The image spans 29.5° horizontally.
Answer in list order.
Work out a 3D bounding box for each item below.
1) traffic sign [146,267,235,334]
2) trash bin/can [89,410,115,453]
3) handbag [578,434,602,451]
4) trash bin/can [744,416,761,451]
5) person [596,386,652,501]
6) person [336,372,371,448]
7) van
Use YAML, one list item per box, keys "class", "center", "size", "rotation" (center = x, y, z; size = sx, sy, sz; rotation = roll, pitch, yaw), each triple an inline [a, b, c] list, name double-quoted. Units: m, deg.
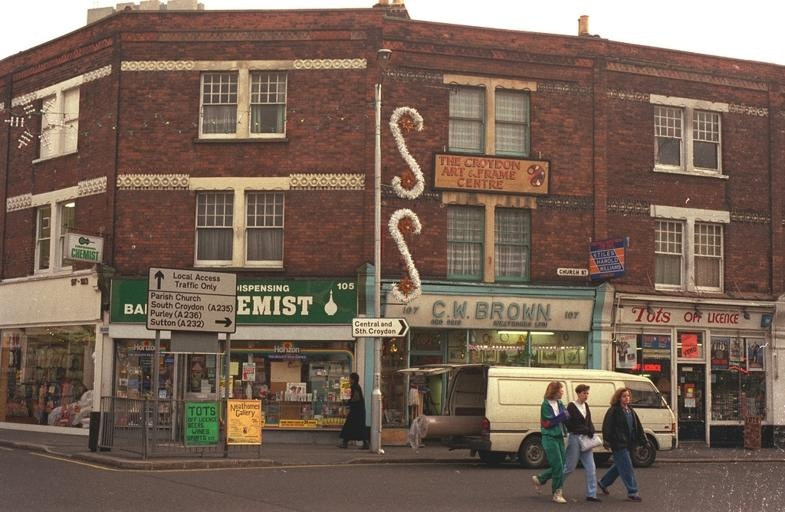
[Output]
- class: "traffic sign"
  center: [-6.210, 1.392, 46.229]
  size: [2.783, 1.910, 0.526]
  rotation: [5, -12, -24]
- class: "trash bin/can"
  center: [-9.144, 5.515, 47.035]
  size: [0.783, 1.236, 0.573]
  rotation: [1, -11, -7]
- class: "handbag"
  center: [5.619, 5.311, 42.399]
  size: [0.565, 0.452, 0.343]
  rotation: [-3, -11, 14]
- class: "trash bin/can"
  center: [12.923, 6.339, 53.641]
  size: [0.646, 1.246, 0.594]
  rotation: [-3, -11, 13]
- class: "person"
  center: [6.564, 5.387, 42.712]
  size: [1.245, 3.183, 1.015]
  rotation: [-2, -11, 8]
- class: "person"
  center: [-1.320, 5.179, 50.334]
  size: [1.156, 2.415, 1.021]
  rotation: [2, 0, -3]
- class: "van"
  center: [4.737, 4.916, 48.354]
  size: [7.359, 2.581, 3.745]
  rotation: [0, -6, -13]
